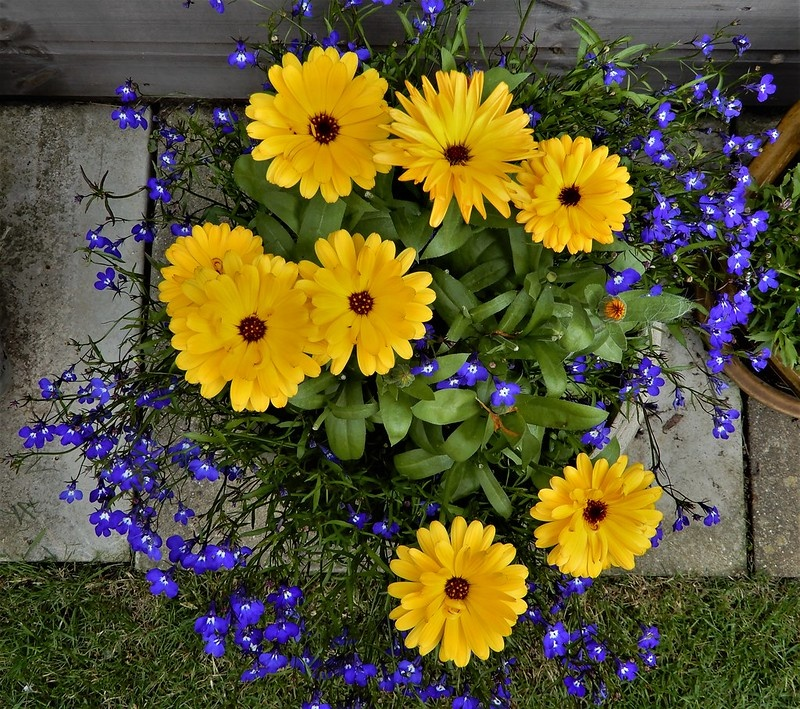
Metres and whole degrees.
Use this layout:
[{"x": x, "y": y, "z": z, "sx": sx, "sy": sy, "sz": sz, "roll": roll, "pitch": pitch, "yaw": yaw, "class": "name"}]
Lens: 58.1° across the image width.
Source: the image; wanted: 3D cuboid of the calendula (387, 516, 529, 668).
[{"x": 0.094, "y": 0.403, "z": 1.242, "sx": 0.234, "sy": 0.063, "sz": 0.245, "roll": 21, "pitch": 86, "yaw": 2, "class": "calendula"}]

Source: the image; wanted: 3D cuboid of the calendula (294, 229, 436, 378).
[{"x": -0.064, "y": -0.100, "z": 1.156, "sx": 0.193, "sy": 0.192, "sz": 0.066, "roll": 25, "pitch": 39, "yaw": 6, "class": "calendula"}]

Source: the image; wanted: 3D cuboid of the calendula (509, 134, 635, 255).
[{"x": 0.298, "y": -0.236, "z": 1.212, "sx": 0.196, "sy": 0.080, "sz": 0.206, "roll": 3, "pitch": 92, "yaw": -8, "class": "calendula"}]

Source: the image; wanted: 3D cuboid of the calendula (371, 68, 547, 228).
[{"x": 0.103, "y": -0.327, "z": 1.156, "sx": 0.238, "sy": 0.098, "sz": 0.248, "roll": -42, "pitch": 87, "yaw": -3, "class": "calendula"}]

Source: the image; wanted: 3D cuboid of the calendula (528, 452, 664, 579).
[{"x": 0.342, "y": 0.270, "z": 1.277, "sx": 0.241, "sy": 0.230, "sz": 0.107, "roll": -25, "pitch": 118, "yaw": -25, "class": "calendula"}]

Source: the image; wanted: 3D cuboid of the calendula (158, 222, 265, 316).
[{"x": -0.327, "y": -0.158, "z": 1.242, "sx": 0.154, "sy": 0.058, "sz": 0.164, "roll": 43, "pitch": 85, "yaw": 5, "class": "calendula"}]

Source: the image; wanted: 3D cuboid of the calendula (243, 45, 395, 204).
[{"x": -0.139, "y": -0.347, "z": 1.224, "sx": 0.074, "sy": 0.252, "sz": 0.262, "roll": -33, "pitch": 43, "yaw": 20, "class": "calendula"}]

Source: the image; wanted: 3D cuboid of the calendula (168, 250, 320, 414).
[{"x": -0.248, "y": -0.065, "z": 1.182, "sx": 0.225, "sy": 0.246, "sz": 0.069, "roll": -36, "pitch": 66, "yaw": 16, "class": "calendula"}]
